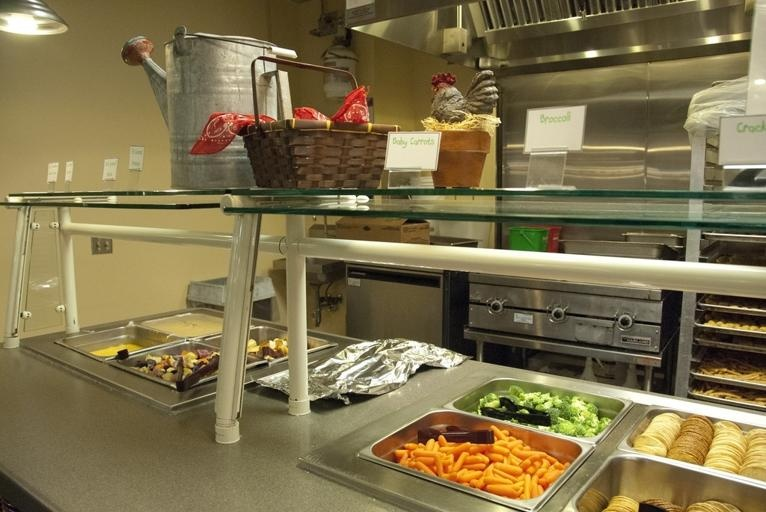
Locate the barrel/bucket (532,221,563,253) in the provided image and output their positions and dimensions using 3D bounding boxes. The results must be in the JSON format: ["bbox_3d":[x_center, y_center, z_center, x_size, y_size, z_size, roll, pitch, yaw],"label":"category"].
[{"bbox_3d":[0.865,-0.091,2.791,0.167,0.149,0.123,11,16,42],"label":"barrel/bucket"}]

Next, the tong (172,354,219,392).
[{"bbox_3d":[-0.607,0.392,1.773,0.056,0.054,0.227,7,18,19],"label":"tong"}]

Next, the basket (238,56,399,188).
[{"bbox_3d":[-0.147,-0.283,1.422,0.396,0.336,0.357,-3,5,-39],"label":"basket"}]

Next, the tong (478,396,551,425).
[{"bbox_3d":[0.386,0.454,1.511,0.096,0.026,0.093,14,2,29],"label":"tong"}]

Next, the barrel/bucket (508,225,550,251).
[{"bbox_3d":[0.878,-0.102,3.224,0.281,0.158,0.282,-1,6,0],"label":"barrel/bucket"}]
